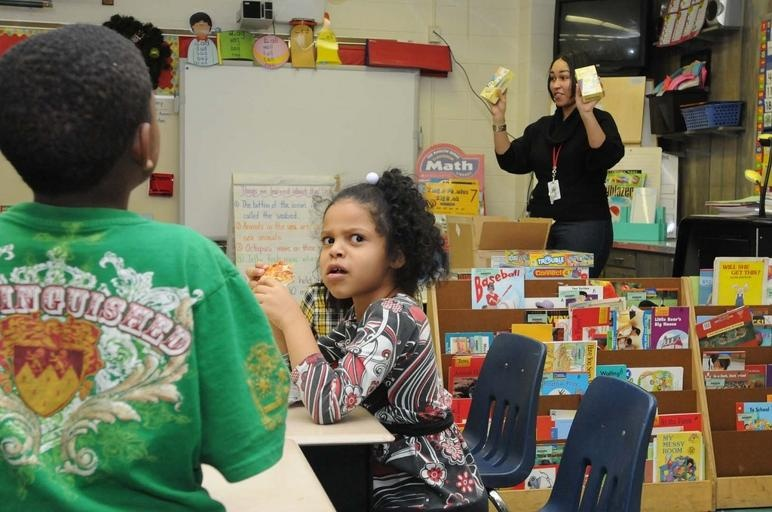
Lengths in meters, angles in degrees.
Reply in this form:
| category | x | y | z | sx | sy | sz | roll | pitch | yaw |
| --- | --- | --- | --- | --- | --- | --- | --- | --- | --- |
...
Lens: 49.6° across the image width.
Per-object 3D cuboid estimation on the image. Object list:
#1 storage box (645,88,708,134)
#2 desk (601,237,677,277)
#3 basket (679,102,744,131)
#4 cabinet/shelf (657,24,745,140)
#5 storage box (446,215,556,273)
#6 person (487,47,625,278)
| category | x | y | z | sx | sy | sz | roll | pitch | yaw |
| --- | --- | --- | --- | --- | --- | --- | --- | --- | --- |
| storage box | 1.976 | -0.964 | 5.676 | 0.298 | 0.270 | 0.365 | -1 | 2 | -19 |
| desk | 1.623 | -0.082 | 5.287 | 0.251 | 0.363 | 0.444 | 4 | 2 | -4 |
| basket | 2.076 | -0.874 | 5.281 | 0.196 | 0.109 | 0.260 | -1 | -2 | -30 |
| cabinet/shelf | 2.088 | -1.122 | 5.474 | 0.286 | 0.765 | 0.877 | 1 | -1 | -15 |
| storage box | 0.616 | -0.078 | 4.476 | 0.359 | 0.308 | 0.439 | 0 | 7 | -10 |
| person | 0.940 | -0.466 | 4.430 | 0.355 | 1.128 | 0.772 | -1 | 5 | -35 |
